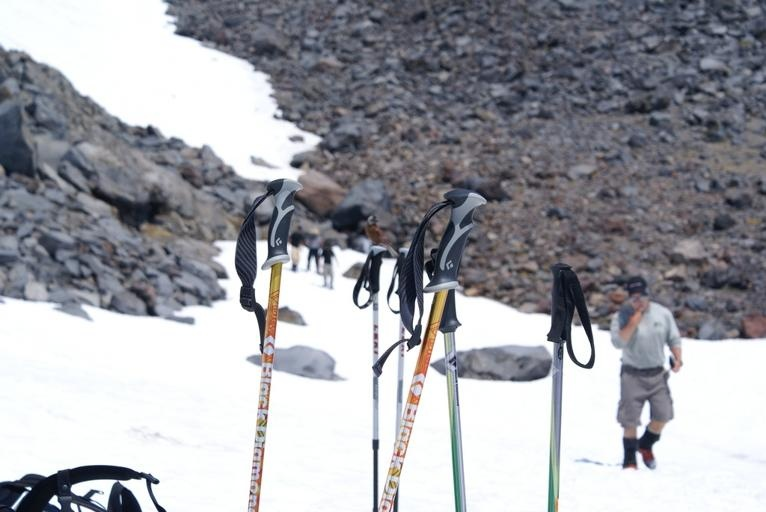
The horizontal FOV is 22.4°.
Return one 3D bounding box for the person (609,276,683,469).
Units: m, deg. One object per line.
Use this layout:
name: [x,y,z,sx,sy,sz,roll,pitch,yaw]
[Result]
person: [5.442,2.454,40.715,1.431,3.981,0.871,7,-8,-5]
